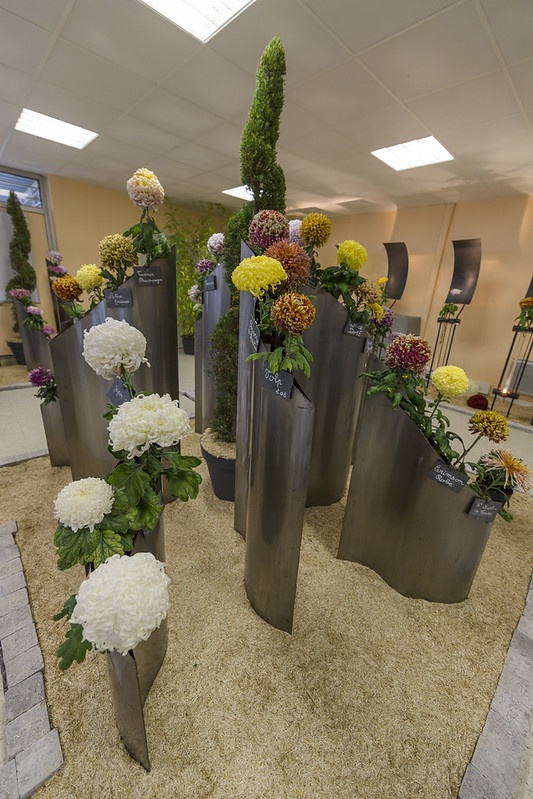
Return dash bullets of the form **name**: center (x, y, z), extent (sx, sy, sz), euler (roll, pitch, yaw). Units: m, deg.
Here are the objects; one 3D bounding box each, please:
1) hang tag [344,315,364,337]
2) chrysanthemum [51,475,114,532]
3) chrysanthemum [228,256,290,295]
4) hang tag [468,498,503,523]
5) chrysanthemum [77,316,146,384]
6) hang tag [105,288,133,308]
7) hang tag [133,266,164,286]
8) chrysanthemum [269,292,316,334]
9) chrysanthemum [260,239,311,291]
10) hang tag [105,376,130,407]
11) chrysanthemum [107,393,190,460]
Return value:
- **hang tag**: center (0.403, -0.341, 1.911), extent (0.094, 0.068, 0.013), euler (4, 23, -19)
- **chrysanthemum**: center (-0.428, 0.262, 0.991), extent (0.126, 0.127, 0.091), euler (-2, 22, -21)
- **chrysanthemum**: center (-0.028, -0.358, 1.247), extent (0.122, 0.097, 0.130), euler (-36, 55, -26)
- **hang tag**: center (0.756, 0.383, 1.448), extent (0.121, 0.089, 0.032), euler (17, 19, -8)
- **chrysanthemum**: center (-0.396, -0.121, 1.139), extent (0.137, 0.207, 0.195), euler (5, 21, -3)
- **hang tag**: center (-0.604, -0.419, 1.700), extent (0.080, 0.081, 0.009), euler (-8, 25, -29)
- **hang tag**: center (-0.495, -0.519, 1.739), extent (0.009, 0.067, 0.092), euler (25, 31, 36)
- **chrysanthemum**: center (0.072, -0.249, 1.237), extent (0.130, 0.131, 0.134), euler (11, 21, 12)
- **chrysanthemum**: center (0.074, -0.418, 1.366), extent (0.143, 0.147, 0.146), euler (5, 35, -16)
- **hang tag**: center (-0.450, -0.024, 1.270), extent (0.012, 0.094, 0.095), euler (-26, 73, -46)
- **chrysanthemum**: center (-0.284, 0.074, 1.017), extent (0.178, 0.109, 0.188), euler (-6, 4, 17)
